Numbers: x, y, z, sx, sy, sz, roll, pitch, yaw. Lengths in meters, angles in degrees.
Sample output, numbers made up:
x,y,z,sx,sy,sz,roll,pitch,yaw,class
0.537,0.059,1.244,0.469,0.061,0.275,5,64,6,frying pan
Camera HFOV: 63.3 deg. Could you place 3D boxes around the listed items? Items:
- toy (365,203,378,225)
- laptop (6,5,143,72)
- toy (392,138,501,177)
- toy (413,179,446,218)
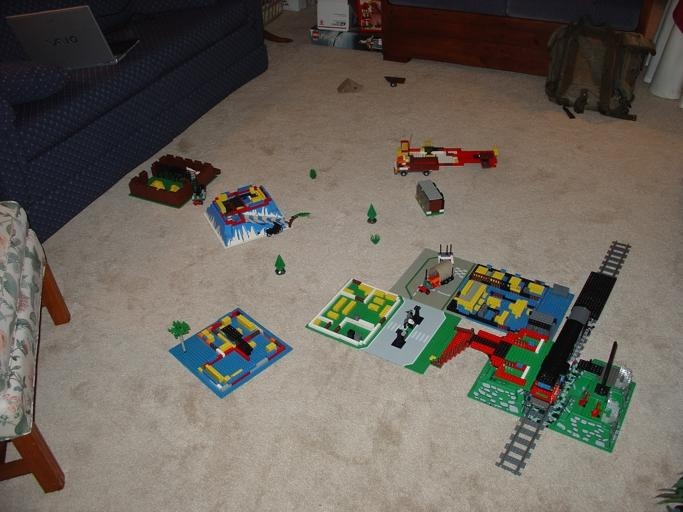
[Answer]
x,y,z,sx,sy,sz,roll,pitch,yaw,class
0.172,-0.255,3.392,0.063,0.118,0.064,13,54,12,toy
-1.674,-1.408,3.551,0.532,0.386,0.566,3,34,9,laptop
0.653,-0.637,3.831,0.758,0.209,0.281,0,55,-2,toy
0.543,-0.388,3.469,0.168,0.125,0.304,-5,48,0,toy
